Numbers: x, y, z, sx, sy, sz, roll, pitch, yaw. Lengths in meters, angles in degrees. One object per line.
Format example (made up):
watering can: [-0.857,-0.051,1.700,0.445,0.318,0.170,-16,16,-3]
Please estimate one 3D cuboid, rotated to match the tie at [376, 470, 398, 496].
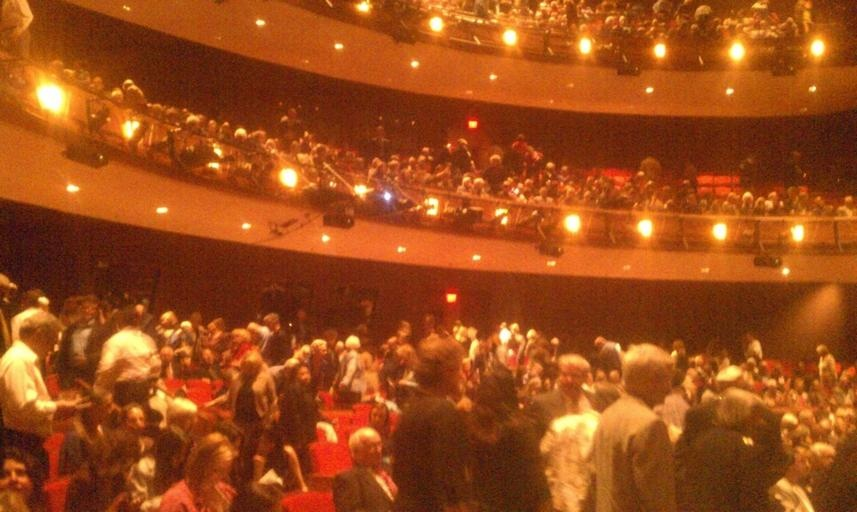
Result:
tie: [-0.639,3.281,11.185,0.250,0.260,0.500,4,8,-10]
